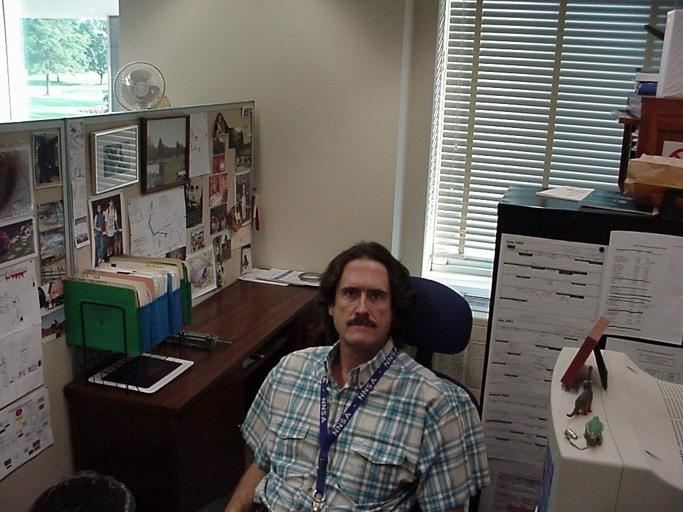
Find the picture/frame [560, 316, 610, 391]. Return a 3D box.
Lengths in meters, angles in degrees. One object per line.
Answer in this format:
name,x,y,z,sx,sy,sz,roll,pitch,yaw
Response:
picture/frame,0.832,0.332,1.749,0.099,0.176,0.133,15,25,28

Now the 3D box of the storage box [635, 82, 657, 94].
storage box,1.238,-0.685,2.093,0.071,0.051,0.151,10,21,27

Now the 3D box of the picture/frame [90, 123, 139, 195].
picture/frame,-0.973,-0.418,2.185,0.025,0.274,0.270,6,13,20

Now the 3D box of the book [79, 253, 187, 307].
book,-0.866,0.067,2.153,0.275,0.116,0.209,8,23,18

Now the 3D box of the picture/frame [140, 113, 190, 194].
picture/frame,-0.849,-0.499,2.445,0.022,0.351,0.340,6,14,19

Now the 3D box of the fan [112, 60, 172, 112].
fan,-1.039,-0.877,2.643,0.236,0.232,0.097,-7,17,-22
